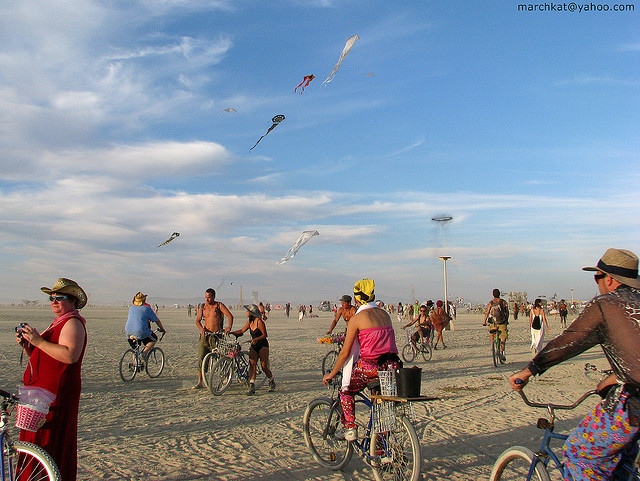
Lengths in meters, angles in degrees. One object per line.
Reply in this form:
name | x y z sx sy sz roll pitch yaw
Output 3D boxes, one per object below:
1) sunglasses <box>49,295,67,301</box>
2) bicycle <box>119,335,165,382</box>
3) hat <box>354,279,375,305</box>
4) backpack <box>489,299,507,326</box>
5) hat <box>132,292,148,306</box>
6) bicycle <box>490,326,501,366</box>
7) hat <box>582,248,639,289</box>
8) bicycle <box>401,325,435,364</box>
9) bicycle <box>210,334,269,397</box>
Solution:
sunglasses | -2.579 0.563 4.543 0.139 0.056 0.039 2 -6 -15
bicycle | -4.592 2.972 11.892 0.600 1.159 1.496 0 -6 9
hat | 0.532 0.610 5.517 0.260 0.297 0.237 -1 -6 15
backpack | 5.488 2.181 14.133 0.505 0.761 0.223 -1 -6 19
hat | -4.566 1.475 11.601 0.262 0.317 0.788 3 -6 -21
bicycle | 5.372 3.192 13.991 0.276 1.147 0.868 -3 -7 31
hat | 2.292 0.223 3.515 0.307 0.125 0.263 21 2 40
bicycle | 3.772 3.475 16.345 0.940 1.162 2.016 -7 6 24
bicycle | -1.751 2.832 10.422 0.894 1.145 1.404 -1 -6 14
